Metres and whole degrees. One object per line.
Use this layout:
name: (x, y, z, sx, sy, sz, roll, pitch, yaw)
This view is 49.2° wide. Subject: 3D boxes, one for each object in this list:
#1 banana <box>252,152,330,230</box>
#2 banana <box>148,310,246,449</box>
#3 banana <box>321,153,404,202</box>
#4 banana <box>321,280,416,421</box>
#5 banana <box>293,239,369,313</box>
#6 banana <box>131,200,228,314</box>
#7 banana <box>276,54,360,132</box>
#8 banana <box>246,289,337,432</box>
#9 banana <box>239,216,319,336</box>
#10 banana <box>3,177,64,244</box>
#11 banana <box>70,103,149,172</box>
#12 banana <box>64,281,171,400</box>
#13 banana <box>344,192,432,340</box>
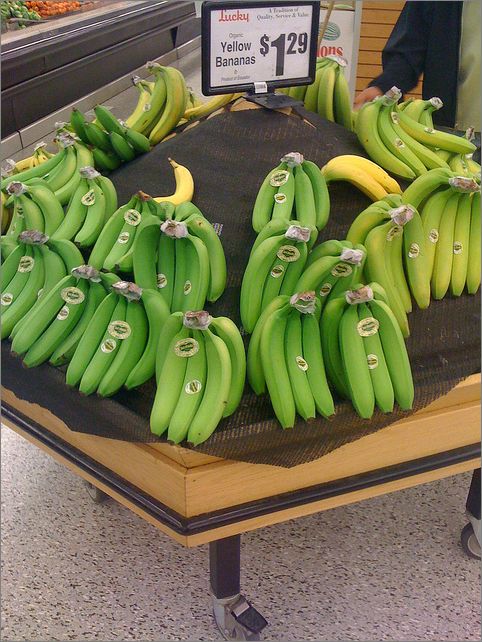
banana: (0.128, -0.311, 1.323, 0.175, 0.080, 0.222, 6, 73, 0)
banana: (-0.077, 0.099, 0.906, 0.166, 0.082, 0.220, 7, 84, 4)
banana: (0.323, -0.367, 1.359, 0.217, 0.116, 0.056, 23, 70, -23)
banana: (0.238, 0.050, 1.016, 0.156, 0.263, 0.102, -13, 3, 4)
banana: (0.178, -0.093, 1.041, 0.097, 0.172, 0.062, 33, 63, 3)
banana: (-0.145, -0.098, 1.181, 0.226, 0.277, 0.118, -5, 53, -27)
banana: (0.281, -0.758, 1.711, 0.145, 0.136, 0.391, 37, 20, 18)
banana: (0.089, 0.073, 0.951, 0.135, 0.092, 0.258, 10, 65, -22)
banana: (0.062, -0.091, 1.146, 0.128, 0.261, 0.095, 10, 34, -24)
banana: (-0.531, -0.267, 1.359, 0.114, 0.191, 0.105, 5, 20, 9)
banana: (-0.349, -0.558, 1.554, 0.195, 0.125, 0.110, -15, 36, -18)
banana: (-0.229, 0.042, 1.004, 0.158, 0.133, 0.249, 20, 46, 2)
banana: (0.335, -0.123, 1.192, 0.201, 0.322, 0.112, -7, 5, -8)
